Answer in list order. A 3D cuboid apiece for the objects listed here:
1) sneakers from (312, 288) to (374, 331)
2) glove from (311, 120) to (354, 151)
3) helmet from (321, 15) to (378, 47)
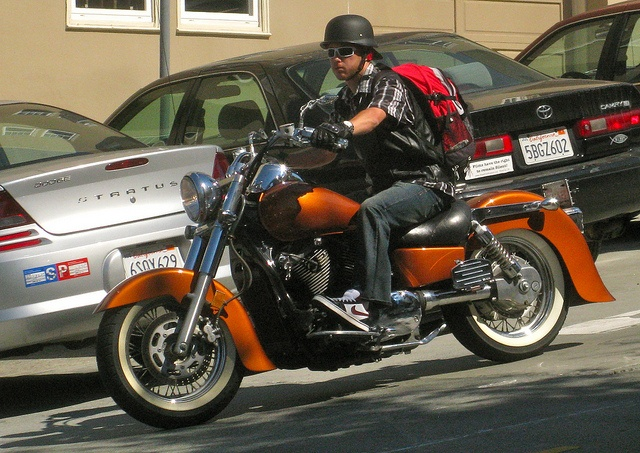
[{"bbox_3d":[0.182,0.517,4.382,0.520,0.189,0.164,24,-13,-24],"label":"sneakers"},{"bbox_3d":[0.081,-0.535,4.119,0.216,0.079,0.212,7,21,38],"label":"glove"},{"bbox_3d":[0.211,-1.309,4.681,0.291,0.127,0.304,-5,-9,45],"label":"helmet"}]
